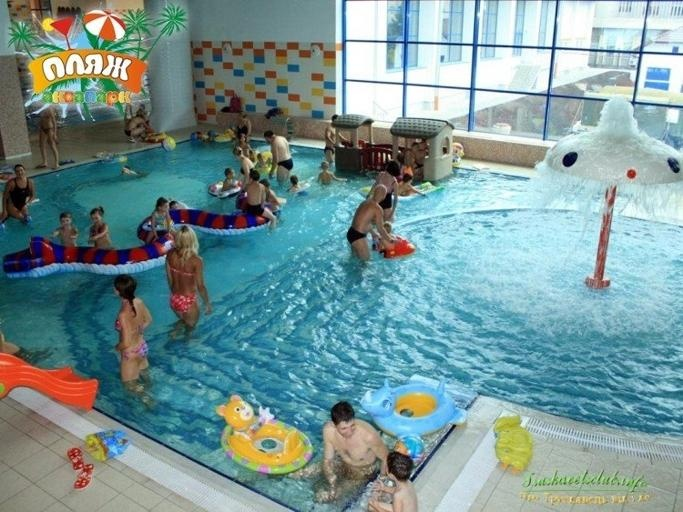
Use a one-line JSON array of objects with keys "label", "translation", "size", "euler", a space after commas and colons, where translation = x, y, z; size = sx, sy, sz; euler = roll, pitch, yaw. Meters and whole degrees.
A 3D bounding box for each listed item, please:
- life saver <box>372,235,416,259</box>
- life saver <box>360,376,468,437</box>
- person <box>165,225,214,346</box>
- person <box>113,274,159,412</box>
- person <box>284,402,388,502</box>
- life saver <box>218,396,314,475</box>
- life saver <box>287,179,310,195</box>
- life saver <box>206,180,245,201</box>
[{"label": "life saver", "translation": [0.946, -0.128, 7.486], "size": [0.440, 0.133, 0.424], "euler": [-15, 31, -27]}, {"label": "life saver", "translation": [0.637, 1.381, 4.011], "size": [0.643, 0.295, 0.533], "euler": [-15, 31, -17]}, {"label": "person", "translation": [-1.916, 0.304, 5.509], "size": [0.475, 1.375, 0.477], "euler": [-6, 25, -17]}, {"label": "person", "translation": [-2.179, 0.801, 4.666], "size": [0.384, 1.253, 0.675], "euler": [-8, 25, -21]}, {"label": "person", "translation": [-0.045, 1.541, 3.518], "size": [0.870, 0.761, 0.542], "euler": [-4, 19, -10]}, {"label": "life saver", "translation": [-0.660, 1.603, 3.870], "size": [0.735, 0.312, 0.547], "euler": [20, 33, 29]}, {"label": "life saver", "translation": [-0.950, -1.543, 10.204], "size": [0.424, 0.448, 0.616], "euler": [-2, 7, 3]}, {"label": "life saver", "translation": [-2.551, -1.436, 9.908], "size": [0.576, 0.180, 0.560], "euler": [-18, 31, -35]}]
